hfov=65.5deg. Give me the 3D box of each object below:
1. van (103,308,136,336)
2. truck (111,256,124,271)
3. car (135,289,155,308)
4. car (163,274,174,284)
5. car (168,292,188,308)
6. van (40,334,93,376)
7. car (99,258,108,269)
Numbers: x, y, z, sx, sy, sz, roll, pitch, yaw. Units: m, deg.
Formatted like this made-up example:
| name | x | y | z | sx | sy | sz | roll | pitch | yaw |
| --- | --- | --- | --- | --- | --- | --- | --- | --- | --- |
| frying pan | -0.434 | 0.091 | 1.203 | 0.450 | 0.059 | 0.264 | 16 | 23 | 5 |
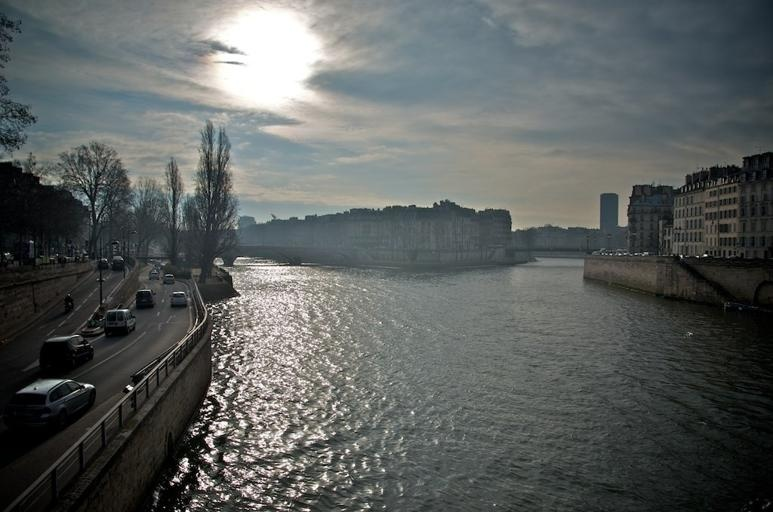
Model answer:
| name | x | y | z | sx | sy | sz | roll | pitch | yaw |
| --- | --- | --- | --- | --- | --- | --- | --- | --- | --- |
| van | -23.363 | 5.684 | 52.848 | 1.742 | 1.427 | 2.906 | 1 | 2 | -9 |
| truck | -40.869 | 1.242 | 91.107 | 1.726 | 1.563 | 3.485 | 0 | 11 | -29 |
| car | -26.460 | 4.697 | 65.664 | 1.482 | 1.100 | 2.314 | -1 | 9 | -23 |
| car | -31.948 | 3.437 | 87.982 | 1.253 | 0.872 | 2.654 | 2 | 7 | -15 |
| car | -23.078 | 4.864 | 66.479 | 1.671 | 1.296 | 2.795 | -1 | 5 | -18 |
| van | -23.487 | 6.815 | 44.198 | 2.389 | 2.128 | 4.495 | -1 | 3 | -3 |
| car | -38.586 | 1.135 | 81.613 | 1.370 | 1.032 | 2.327 | -2 | 8 | -23 |
